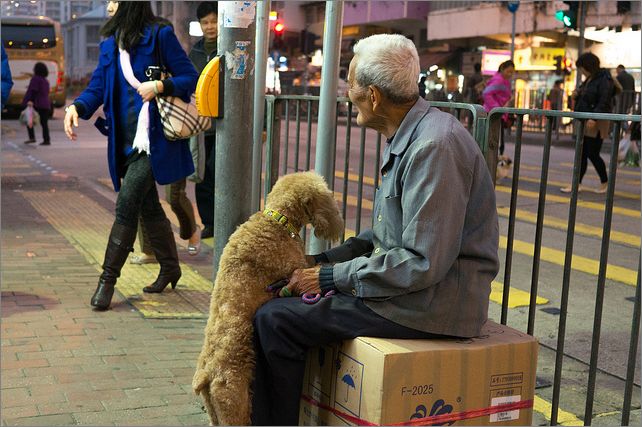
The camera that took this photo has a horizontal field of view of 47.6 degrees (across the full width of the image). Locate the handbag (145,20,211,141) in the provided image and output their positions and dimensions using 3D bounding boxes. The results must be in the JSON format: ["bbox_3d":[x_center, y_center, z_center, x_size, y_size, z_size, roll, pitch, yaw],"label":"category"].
[{"bbox_3d":[-1.385,-1.224,6.873,0.592,1.069,0.305,-2,12,-12],"label":"handbag"}]

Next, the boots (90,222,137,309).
[{"bbox_3d":[-2.007,0.478,6.878,0.186,0.763,0.440,11,16,40],"label":"boots"}]

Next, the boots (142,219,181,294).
[{"bbox_3d":[-1.675,0.417,7.402,0.441,0.780,0.247,-3,-2,-34],"label":"boots"}]

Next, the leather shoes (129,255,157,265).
[{"bbox_3d":[-2.028,0.521,8.272,0.368,0.150,0.143,3,-1,-21],"label":"leather shoes"}]

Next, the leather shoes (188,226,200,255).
[{"bbox_3d":[-1.538,0.314,8.656,0.109,0.341,0.086,6,7,32],"label":"leather shoes"}]

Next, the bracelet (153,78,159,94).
[{"bbox_3d":[-1.544,-1.186,6.728,0.032,0.094,0.074,0,-3,-6],"label":"bracelet"}]
